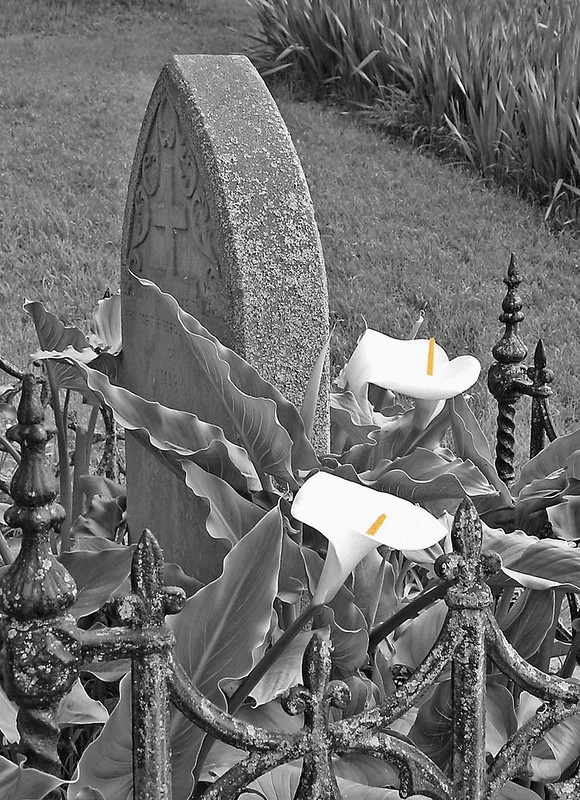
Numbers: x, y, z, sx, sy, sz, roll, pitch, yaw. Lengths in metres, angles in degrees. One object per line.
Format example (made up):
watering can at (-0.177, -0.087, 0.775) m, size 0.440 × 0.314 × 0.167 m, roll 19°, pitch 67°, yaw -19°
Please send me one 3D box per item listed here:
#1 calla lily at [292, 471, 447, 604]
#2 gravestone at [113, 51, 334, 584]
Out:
calla lily at (0.126, 0.224, 3.745) m, size 0.135 × 0.194 × 0.100 m, roll 11°, pitch 47°, yaw -8°
gravestone at (-0.128, -0.280, 4.194) m, size 0.230 × 0.668 × 0.527 m, roll -9°, pitch 25°, yaw -30°
